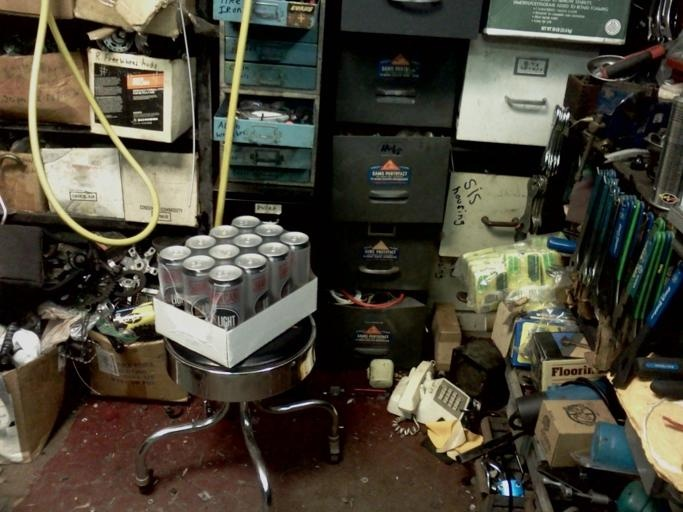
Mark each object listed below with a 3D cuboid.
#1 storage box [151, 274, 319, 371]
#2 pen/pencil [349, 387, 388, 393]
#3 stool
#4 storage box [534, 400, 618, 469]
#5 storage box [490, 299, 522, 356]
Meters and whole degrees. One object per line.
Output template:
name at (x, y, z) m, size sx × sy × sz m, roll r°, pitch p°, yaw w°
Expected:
storage box at (-0.432, 0.139, 1.957) m, size 0.344 × 0.116 × 0.389 m, roll 21°, pitch 36°, yaw 27°
pen/pencil at (0.136, 0.677, 2.917) m, size 0.146 × 0.020 × 0.016 m, roll 2°, pitch 40°, yaw -2°
stool at (-0.451, 0.539, 2.440) m, size 0.800 × 0.729 × 0.794 m, roll -7°, pitch 44°, yaw -11°
storage box at (0.811, 0.590, 1.980) m, size 0.221 × 0.234 × 0.170 m, roll 1°, pitch 8°, yaw 4°
storage box at (0.764, 0.335, 2.622) m, size 0.098 × 0.223 × 0.190 m, roll 3°, pitch 21°, yaw 4°
